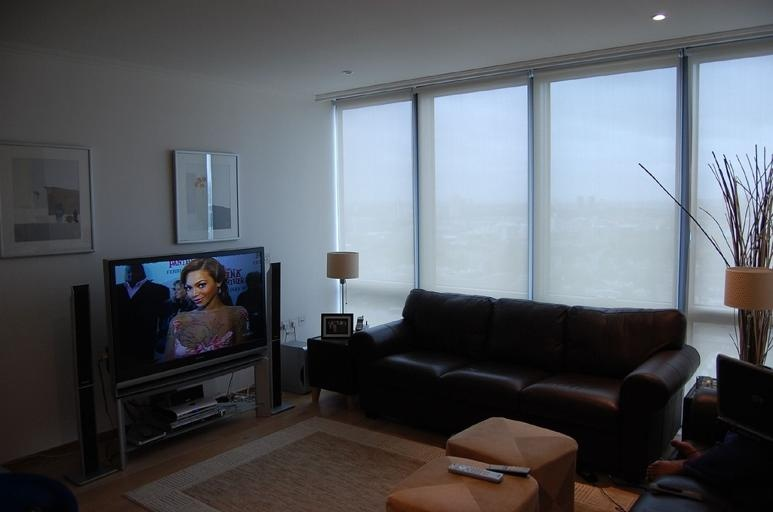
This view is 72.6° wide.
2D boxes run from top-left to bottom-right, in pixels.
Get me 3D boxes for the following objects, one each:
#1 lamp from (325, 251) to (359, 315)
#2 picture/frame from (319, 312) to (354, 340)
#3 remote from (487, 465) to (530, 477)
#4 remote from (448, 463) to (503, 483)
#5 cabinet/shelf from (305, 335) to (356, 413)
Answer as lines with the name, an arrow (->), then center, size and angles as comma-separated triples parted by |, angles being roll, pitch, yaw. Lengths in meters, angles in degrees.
lamp -> -0.490, 0.316, 6.050 | 0.335, 0.727, 0.262 | 12, 19, 43
picture/frame -> -0.538, 0.774, 5.779 | 0.354, 0.266, 0.034 | 0, -8, -1
remote -> 0.826, 1.433, 3.541 | 0.190, 0.035, 0.104 | 1, -1, 23
remote -> 0.601, 1.444, 3.519 | 0.259, 0.033, 0.121 | 2, 3, 26
cabinet/shelf -> -0.589, 1.222, 5.695 | 0.622, 0.807, 0.222 | 5, 15, 23
